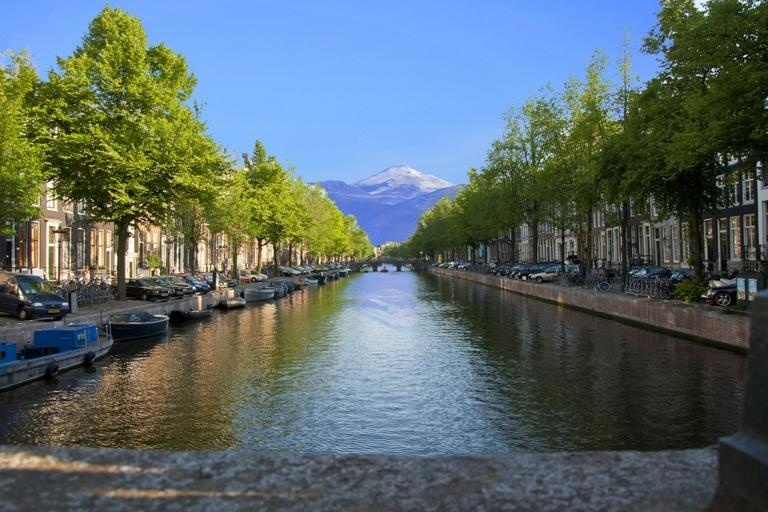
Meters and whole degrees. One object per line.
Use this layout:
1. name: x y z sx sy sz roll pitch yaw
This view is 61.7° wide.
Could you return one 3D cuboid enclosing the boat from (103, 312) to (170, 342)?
1. boat: -11.377 3.305 29.580 1.041 1.289 2.862 6 11 40
